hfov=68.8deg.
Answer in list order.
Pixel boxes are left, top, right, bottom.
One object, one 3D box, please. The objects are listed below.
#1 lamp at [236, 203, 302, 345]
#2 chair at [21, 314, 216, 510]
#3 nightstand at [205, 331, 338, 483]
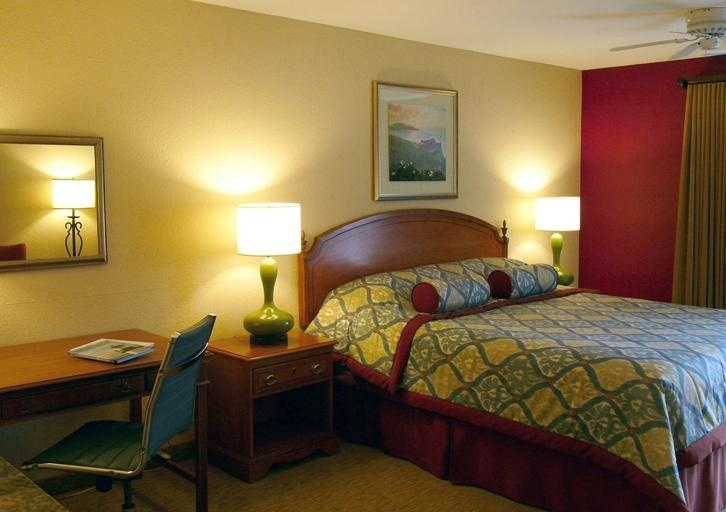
[{"bbox_3d":[-0.644,0.110,3.665,0.422,0.924,0.405,-1,11,-11],"label":"lamp"},{"bbox_3d":[-1.176,0.912,2.816,0.738,1.197,0.681,2,11,4],"label":"chair"},{"bbox_3d":[-0.647,0.883,3.873,1.048,1.017,0.852,-2,2,-43],"label":"nightstand"}]
